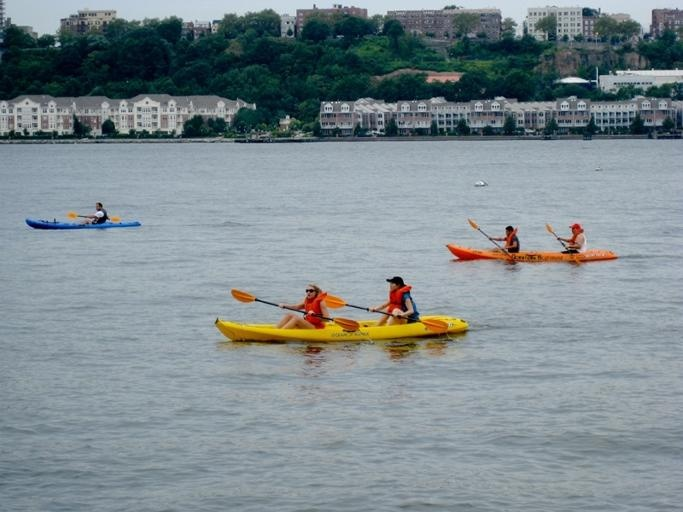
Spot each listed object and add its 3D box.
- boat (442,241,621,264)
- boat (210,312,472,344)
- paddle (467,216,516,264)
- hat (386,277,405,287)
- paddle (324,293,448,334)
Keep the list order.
[{"bbox_3d":[8.236,-0.004,69.500,7.334,0.815,2.148,2,-1,-1],"label":"boat"},{"bbox_3d":[-0.275,2.806,58.745,10.267,1.102,2.542,1,-1,-8],"label":"boat"},{"bbox_3d":[6.884,-0.700,74.404,3.401,0.720,0.146,32,-39,-24],"label":"paddle"},{"bbox_3d":[1.951,0.931,58.644,0.657,0.264,0.361,5,7,8],"label":"hat"},{"bbox_3d":[1.860,2.592,59.454,4.400,0.275,0.707,-2,28,25],"label":"paddle"}]
